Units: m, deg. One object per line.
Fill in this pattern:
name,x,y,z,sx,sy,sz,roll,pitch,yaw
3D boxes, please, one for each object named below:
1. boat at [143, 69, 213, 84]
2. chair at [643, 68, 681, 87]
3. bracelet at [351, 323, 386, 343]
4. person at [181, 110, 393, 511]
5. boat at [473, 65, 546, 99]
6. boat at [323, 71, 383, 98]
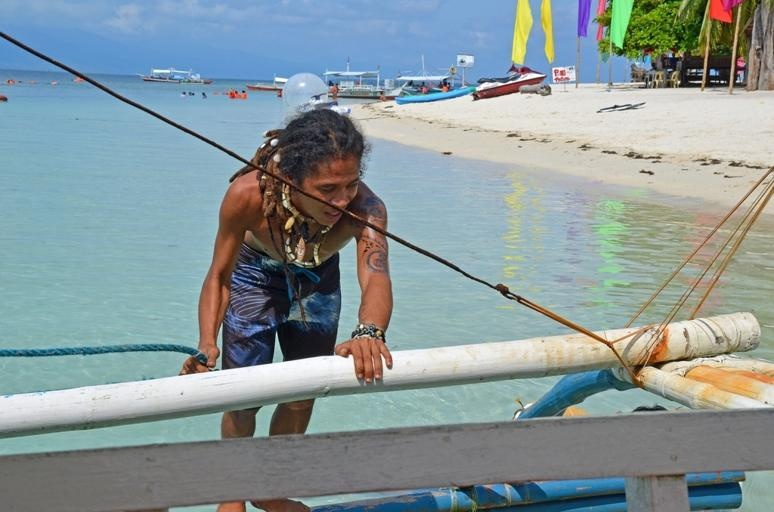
boat,-33.442,-29.418,132.787,5.482,2.304,11.077,3,11,22
chair,12.248,-7.926,35.416,1.513,0.596,1.944,1,5,34
bracelet,-0.096,0.435,4.675,0.117,0.064,0.147,-26,42,-37
person,-0.570,0.464,5.372,1.197,2.862,1.639,-13,17,-36
boat,5.972,-8.687,40.198,3.278,1.677,5.304,0,11,9
boat,-3.876,-20.249,96.614,5.250,3.278,40.214,-2,10,-3
